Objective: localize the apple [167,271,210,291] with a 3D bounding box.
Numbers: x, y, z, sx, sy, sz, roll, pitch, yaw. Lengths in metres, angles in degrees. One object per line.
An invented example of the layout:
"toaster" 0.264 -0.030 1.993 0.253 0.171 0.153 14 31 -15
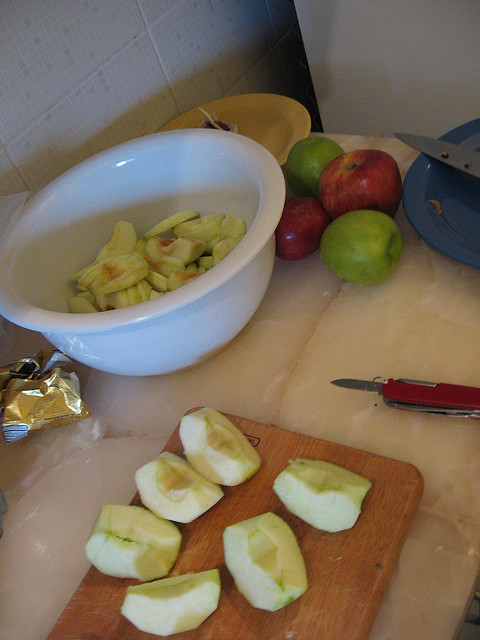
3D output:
"apple" -0.062 -0.050 0.633 0.039 0.015 0.027 -17 16 1

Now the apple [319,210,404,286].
"apple" 0.143 -0.087 0.654 0.086 0.091 0.068 16 51 35

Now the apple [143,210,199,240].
"apple" -0.095 -0.136 0.750 0.084 0.021 0.024 -23 49 1

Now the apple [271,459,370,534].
"apple" 0.076 0.156 0.484 0.061 0.022 0.078 -39 43 -25

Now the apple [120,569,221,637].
"apple" -0.056 0.238 0.446 0.089 0.018 0.048 -15 55 5

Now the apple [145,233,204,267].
"apple" -0.091 -0.091 0.710 0.068 0.027 0.046 5 45 28

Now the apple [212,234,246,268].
"apple" -0.016 -0.092 0.670 0.037 0.026 0.051 -4 41 17

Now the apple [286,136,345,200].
"apple" 0.112 -0.222 0.790 0.093 0.098 0.092 5 5 23

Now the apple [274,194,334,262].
"apple" 0.083 -0.141 0.762 0.069 0.070 0.092 30 65 24

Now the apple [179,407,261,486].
"apple" -0.017 0.130 0.545 0.065 0.031 0.096 -30 51 -25

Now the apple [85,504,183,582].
"apple" -0.100 0.210 0.501 0.088 0.026 0.064 20 56 23

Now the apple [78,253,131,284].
"apple" -0.173 -0.067 0.678 0.049 0.020 0.036 -49 50 -1

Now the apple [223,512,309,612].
"apple" 0.022 0.206 0.457 0.063 0.023 0.078 -24 39 -9

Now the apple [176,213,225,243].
"apple" -0.045 -0.125 0.708 0.041 0.018 0.045 -25 21 -19

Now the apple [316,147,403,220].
"apple" 0.159 -0.172 0.706 0.088 0.093 0.081 22 55 39

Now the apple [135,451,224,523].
"apple" -0.061 0.167 0.523 0.084 0.026 0.067 29 47 35
